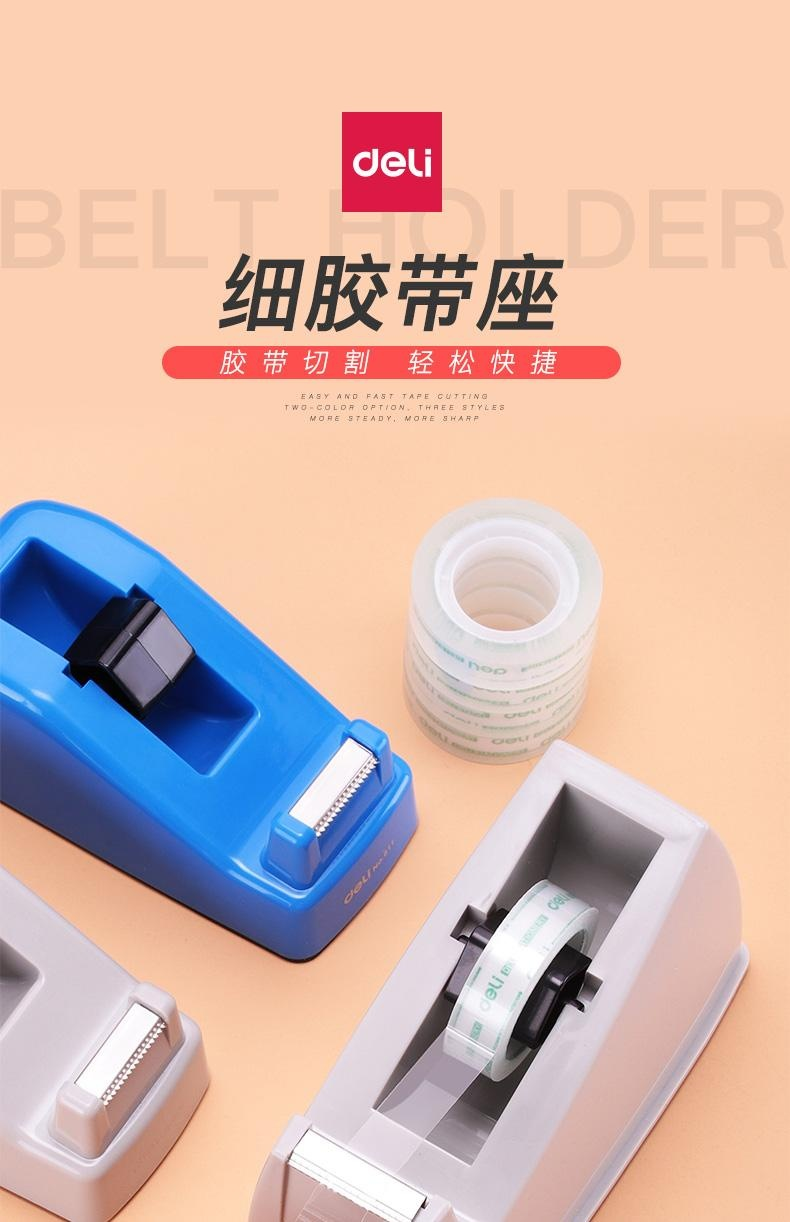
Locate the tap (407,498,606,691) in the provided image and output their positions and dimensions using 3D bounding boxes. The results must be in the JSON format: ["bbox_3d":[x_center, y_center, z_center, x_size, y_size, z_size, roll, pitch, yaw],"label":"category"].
[{"bbox_3d":[0.164,0.000,1.572,0.270,0.277,0.283,1,-26,3],"label":"tap"}]
